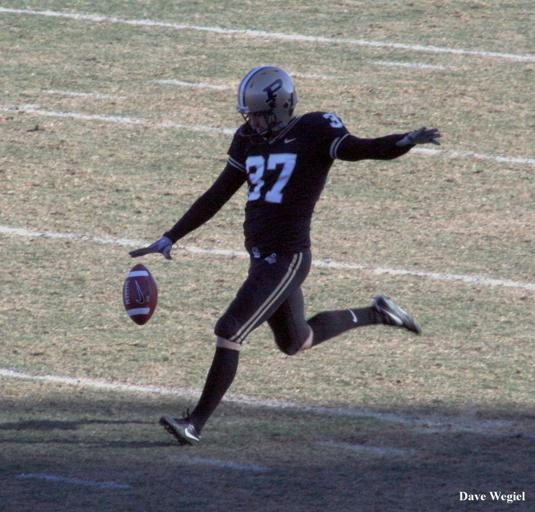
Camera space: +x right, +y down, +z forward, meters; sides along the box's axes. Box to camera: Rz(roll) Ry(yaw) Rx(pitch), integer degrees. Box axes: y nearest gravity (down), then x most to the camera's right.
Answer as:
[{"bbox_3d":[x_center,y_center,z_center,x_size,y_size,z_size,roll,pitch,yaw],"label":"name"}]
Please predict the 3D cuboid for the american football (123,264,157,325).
[{"bbox_3d":[-0.919,0.294,10.583,0.374,0.418,0.356,-9,-9,37],"label":"american football"}]

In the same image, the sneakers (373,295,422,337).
[{"bbox_3d":[1.086,0.513,11.051,0.485,0.170,0.156,29,13,-33],"label":"sneakers"}]
